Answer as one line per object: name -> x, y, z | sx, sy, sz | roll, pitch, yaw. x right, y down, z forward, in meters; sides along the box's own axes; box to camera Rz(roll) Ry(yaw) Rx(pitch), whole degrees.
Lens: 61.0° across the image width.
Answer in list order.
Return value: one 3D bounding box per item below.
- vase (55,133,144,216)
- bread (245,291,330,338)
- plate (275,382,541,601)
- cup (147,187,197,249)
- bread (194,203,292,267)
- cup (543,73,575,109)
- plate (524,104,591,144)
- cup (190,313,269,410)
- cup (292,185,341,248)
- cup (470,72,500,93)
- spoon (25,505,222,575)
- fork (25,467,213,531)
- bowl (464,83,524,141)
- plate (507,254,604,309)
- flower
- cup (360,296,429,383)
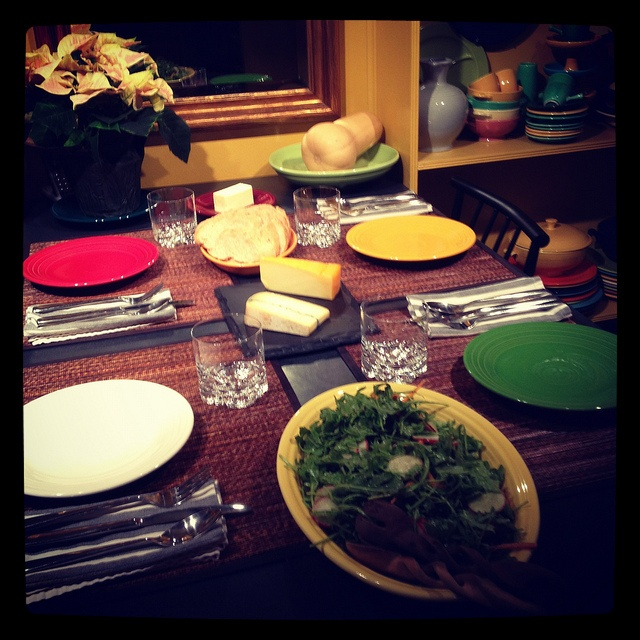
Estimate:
vase -> -0.358, -0.241, 0.904 | 0.131, 0.140, 0.125 | -9, 35, -16
bread -> -0.036, -0.017, 0.606 | 0.066, 0.023, 0.053 | 12, 25, 17
plate -> 0.059, 0.065, 0.322 | 0.113, 0.049, 0.141 | 3, 31, -13
cup -> -0.236, -0.172, 0.910 | 0.077, 0.099, 0.085 | 0, 14, -7
bread -> -0.101, -0.123, 0.766 | 0.111, 0.029, 0.095 | -21, 52, -12
cup -> 0.538, -0.517, 1.223 | 0.062, 0.072, 0.074 | 14, 62, 20
plate -> 0.538, -0.446, 1.235 | 0.095, 0.048, 0.103 | -2, 25, -2
cup -> -0.085, 0.032, 0.529 | 0.068, 0.088, 0.076 | 6, 18, 13
cup -> 0.000, -0.161, 0.895 | 0.082, 0.102, 0.087 | -2, 26, 1
cup -> 0.382, -0.540, 1.240 | 0.051, 0.039, 0.046 | -26, 2, 45
spoon -> -0.124, 0.142, 0.346 | 0.099, 0.012, 0.014 | -11, 27, -18
fork -> -0.140, 0.126, 0.373 | 0.121, 0.019, 0.016 | -11, 18, -20
bowl -> 0.399, -0.476, 1.243 | 0.099, 0.091, 0.121 | 5, 34, 14
plate -> 0.603, -0.081, 1.340 | 0.181, 0.074, 0.196 | -4, 28, -4
flower -> -0.310, -0.364, 0.872 | 0.244, 0.142, 0.244 | 15, 8, 17
cup -> 0.085, 0.020, 0.574 | 0.071, 0.088, 0.074 | -4, 24, 2
